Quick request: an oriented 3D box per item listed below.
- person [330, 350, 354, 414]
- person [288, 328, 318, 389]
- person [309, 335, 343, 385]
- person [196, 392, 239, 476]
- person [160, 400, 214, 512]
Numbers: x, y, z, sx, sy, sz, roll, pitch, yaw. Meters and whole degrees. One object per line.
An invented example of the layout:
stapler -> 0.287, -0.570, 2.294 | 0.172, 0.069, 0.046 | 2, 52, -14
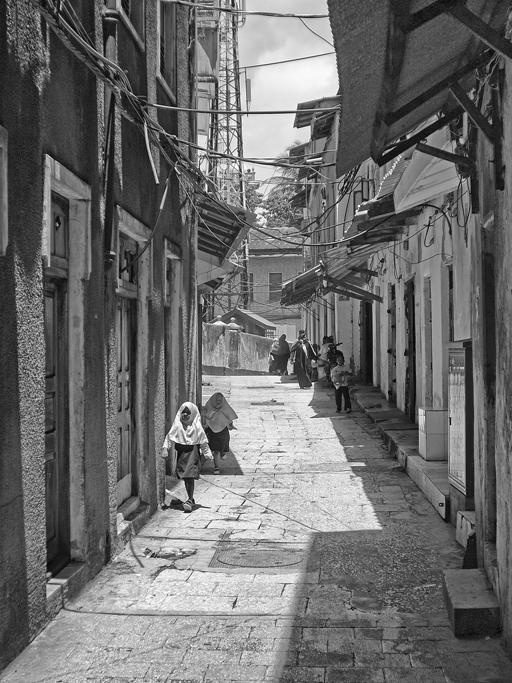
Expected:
person -> 1.930, 0.884, 17.755 | 0.361, 1.573, 0.447 | -7, 33, -1
person -> 1.519, 0.427, 25.513 | 0.791, 2.133, 0.655 | -2, 43, 3
person -> 2.187, 0.634, 24.582 | 0.944, 2.101, 0.776 | 11, 10, 35
person -> -0.566, 1.296, 11.640 | 0.537, 1.282, 0.382 | -7, 27, -14
person -> -0.801, 1.329, 9.088 | 0.656, 1.012, 0.443 | 0, 0, -30
